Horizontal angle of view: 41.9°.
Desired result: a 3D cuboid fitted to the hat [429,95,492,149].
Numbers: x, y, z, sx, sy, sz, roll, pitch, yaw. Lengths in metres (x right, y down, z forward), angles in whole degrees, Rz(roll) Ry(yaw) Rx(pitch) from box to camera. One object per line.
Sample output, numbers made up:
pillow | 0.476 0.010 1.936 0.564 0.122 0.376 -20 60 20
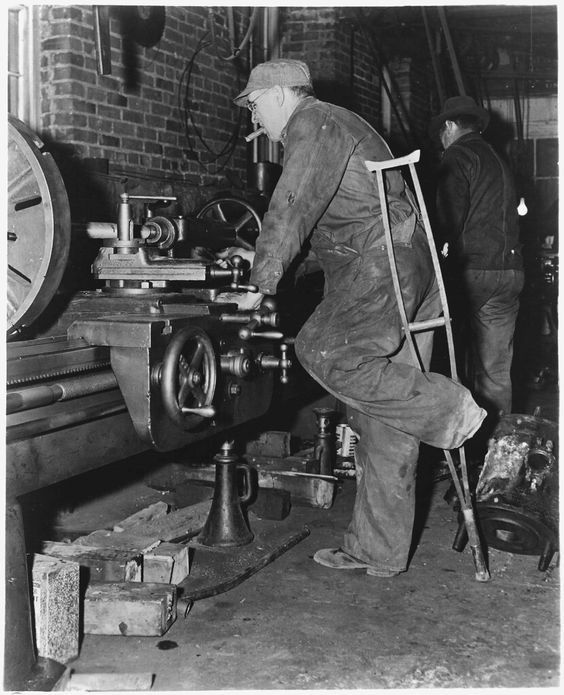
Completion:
hat | 1.041 -1.350 4.347 0.289 0.127 0.337 -20 -23 5

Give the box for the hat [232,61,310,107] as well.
hat | -0.028 -0.976 2.730 0.222 0.107 0.145 -1 20 6

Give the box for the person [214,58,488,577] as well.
person | 0.263 -0.111 2.682 0.904 1.874 0.488 1 5 9

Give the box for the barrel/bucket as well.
barrel/bucket | 0.931 0.519 2.877 0.375 0.532 0.195 4 -33 30
